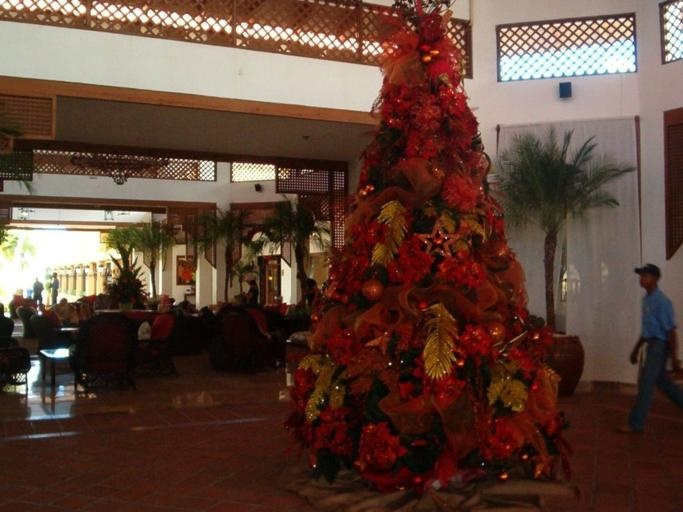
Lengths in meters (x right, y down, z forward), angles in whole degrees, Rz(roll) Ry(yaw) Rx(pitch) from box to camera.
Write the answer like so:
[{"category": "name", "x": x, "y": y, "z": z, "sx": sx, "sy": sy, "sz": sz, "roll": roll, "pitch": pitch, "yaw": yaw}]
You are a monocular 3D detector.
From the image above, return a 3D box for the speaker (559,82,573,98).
[{"category": "speaker", "x": 2.997, "y": -2.206, "z": 7.704, "sx": 0.197, "sy": 0.281, "sz": 0.147, "roll": -1, "pitch": 1, "yaw": 10}]

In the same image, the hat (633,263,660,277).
[{"category": "hat", "x": 3.043, "y": 0.139, "z": 5.768, "sx": 0.296, "sy": 0.117, "sz": 0.195, "roll": 7, "pitch": 1, "yaw": 21}]

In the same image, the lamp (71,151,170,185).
[{"category": "lamp", "x": -5.117, "y": -2.007, "z": 13.197, "sx": 1.610, "sy": 0.710, "sz": 2.297, "roll": -2, "pitch": 2, "yaw": 9}]

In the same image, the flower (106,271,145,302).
[{"category": "flower", "x": -3.570, "y": 0.453, "z": 9.537, "sx": 0.469, "sy": 0.482, "sz": 0.499, "roll": 1, "pitch": 3, "yaw": -11}]

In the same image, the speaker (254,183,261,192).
[{"category": "speaker", "x": -2.409, "y": -1.982, "z": 16.689, "sx": 0.170, "sy": 0.224, "sz": 0.063, "roll": -8, "pitch": 7, "yaw": -5}]

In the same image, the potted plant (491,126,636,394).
[{"category": "potted plant", "x": 2.992, "y": -0.123, "z": 7.527, "sx": 1.720, "sy": 2.975, "sz": 0.967, "roll": -2, "pitch": 0, "yaw": -9}]

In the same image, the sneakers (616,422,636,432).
[{"category": "sneakers", "x": 2.533, "y": 1.504, "z": 5.138, "sx": 0.137, "sy": 0.058, "sz": 0.082, "roll": -9, "pitch": -4, "yaw": 9}]
